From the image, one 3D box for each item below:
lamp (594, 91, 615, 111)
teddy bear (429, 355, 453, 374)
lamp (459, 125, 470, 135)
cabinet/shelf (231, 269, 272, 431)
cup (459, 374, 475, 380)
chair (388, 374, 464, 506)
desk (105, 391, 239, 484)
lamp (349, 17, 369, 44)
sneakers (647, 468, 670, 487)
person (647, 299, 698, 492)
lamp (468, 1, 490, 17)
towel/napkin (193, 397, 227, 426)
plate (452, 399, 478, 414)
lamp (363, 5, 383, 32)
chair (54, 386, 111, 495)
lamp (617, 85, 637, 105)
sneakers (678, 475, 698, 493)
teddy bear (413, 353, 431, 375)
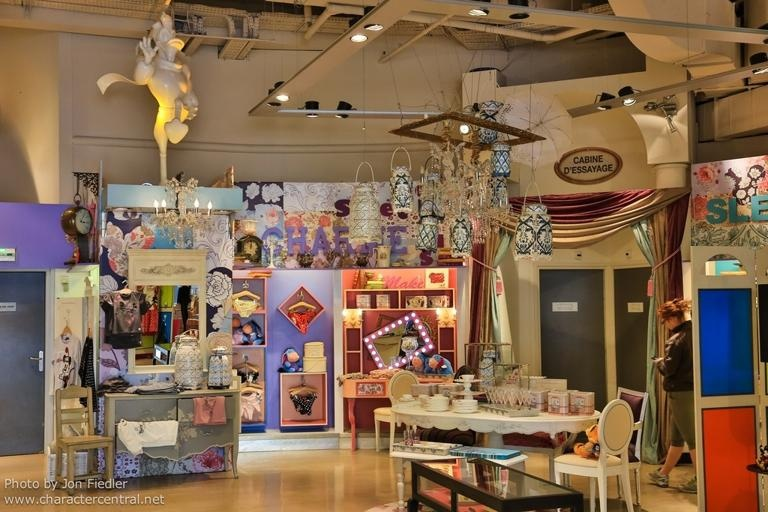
[{"bbox_3d":[3.223,-2.285,10.705,0.268,0.240,0.514,0,2,14],"label":"lamp"},{"bbox_3d":[0.928,1.775,12.152,0.389,0.281,0.423,-1,2,6],"label":"teddy bear"},{"bbox_3d":[0.951,-1.514,8.758,0.138,0.135,0.040,4,-1,33],"label":"lamp"},{"bbox_3d":[-2.233,1.558,12.238,0.582,2.679,0.418,-2,3,-11],"label":"cabinet/shelf"},{"bbox_3d":[1.109,1.593,9.654,0.136,0.052,0.117,3,-6,-37],"label":"cup"},{"bbox_3d":[0.396,2.453,10.007,1.418,1.562,1.551,-1,-3,20],"label":"chair"},{"bbox_3d":[-3.050,2.498,10.333,1.274,0.834,0.475,1,-9,-20],"label":"desk"},{"bbox_3d":[-0.314,-2.513,8.097,0.254,0.265,0.252,2,2,15],"label":"lamp"},{"bbox_3d":[3.844,3.097,10.302,0.137,0.159,0.333,-2,4,-14],"label":"sneakers"},{"bbox_3d":[4.040,1.896,10.279,0.565,2.557,0.568,0,3,20],"label":"person"},{"bbox_3d":[1.008,-2.616,7.812,0.177,0.186,0.173,4,0,-4],"label":"lamp"},{"bbox_3d":[-2.475,2.172,10.351,0.400,0.385,0.143,2,-5,-12],"label":"towel/napkin"},{"bbox_3d":[1.044,1.899,9.372,0.208,0.091,0.204,2,-5,-15],"label":"plate"},{"bbox_3d":[-0.114,-2.548,7.877,0.216,0.048,0.215,-3,-18,14],"label":"lamp"},{"bbox_3d":[-4.295,2.480,10.275,0.651,1.372,1.142,-3,3,-36],"label":"chair"},{"bbox_3d":[3.420,-2.270,10.327,0.224,0.275,0.499,-1,2,9],"label":"lamp"},{"bbox_3d":[4.216,3.128,10.131,0.212,0.128,0.430,0,2,29],"label":"sneakers"},{"bbox_3d":[0.592,1.784,12.184,0.285,0.276,0.210,13,-21,-26],"label":"teddy bear"}]
